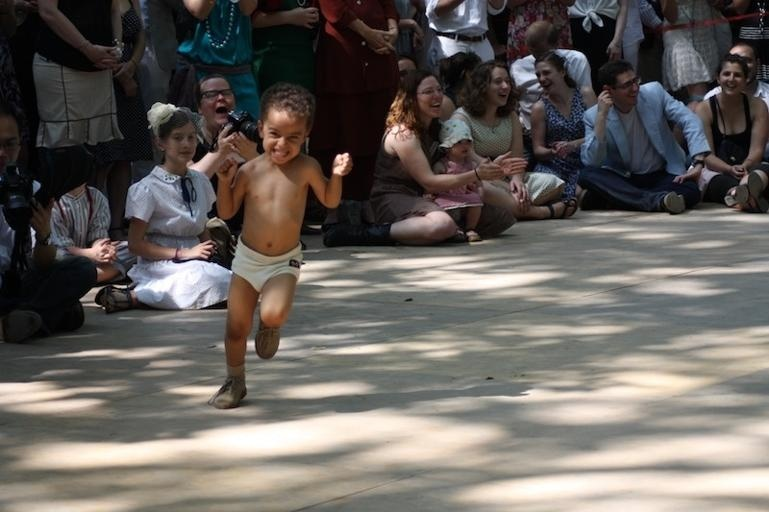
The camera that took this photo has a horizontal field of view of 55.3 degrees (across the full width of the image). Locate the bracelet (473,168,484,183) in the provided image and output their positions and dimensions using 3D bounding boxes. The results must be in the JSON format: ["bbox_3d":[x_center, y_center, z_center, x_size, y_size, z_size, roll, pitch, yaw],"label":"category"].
[{"bbox_3d":[0.747,-0.633,5.897,0.049,0.118,0.143,-14,18,-2],"label":"bracelet"}]

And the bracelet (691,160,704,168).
[{"bbox_3d":[3.167,-0.925,7.459,0.117,0.052,0.103,3,-5,-20],"label":"bracelet"}]

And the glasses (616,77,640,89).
[{"bbox_3d":[2.383,-1.673,7.204,0.180,0.043,0.183,-28,26,-33],"label":"glasses"}]

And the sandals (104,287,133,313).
[{"bbox_3d":[-1.638,0.276,4.538,0.168,0.154,0.079,0,7,-27],"label":"sandals"}]

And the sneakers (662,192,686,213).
[{"bbox_3d":[2.768,-0.499,7.050,0.224,0.202,0.156,3,5,2],"label":"sneakers"}]

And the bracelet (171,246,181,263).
[{"bbox_3d":[-1.316,0.005,4.663,0.049,0.080,0.029,2,6,-19],"label":"bracelet"}]

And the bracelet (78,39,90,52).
[{"bbox_3d":[-2.263,-1.571,5.524,0.089,0.100,0.052,5,6,24],"label":"bracelet"}]

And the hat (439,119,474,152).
[{"bbox_3d":[0.629,-1.062,6.505,0.354,0.150,0.299,-4,0,0],"label":"hat"}]

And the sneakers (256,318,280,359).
[{"bbox_3d":[-0.486,0.345,3.058,0.094,0.183,0.213,3,5,-9],"label":"sneakers"}]

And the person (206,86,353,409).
[{"bbox_3d":[-0.437,-0.058,3.123,0.557,1.329,0.488,3,6,-11],"label":"person"}]

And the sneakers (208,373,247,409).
[{"bbox_3d":[-0.639,0.549,3.001,0.148,0.124,0.125,2,5,-10],"label":"sneakers"}]

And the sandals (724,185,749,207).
[{"bbox_3d":[3.361,-0.571,7.066,0.150,0.216,0.295,4,5,2],"label":"sandals"}]

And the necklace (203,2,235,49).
[{"bbox_3d":[-1.363,-1.890,6.078,0.293,0.348,0.067,-3,16,-35],"label":"necklace"}]
